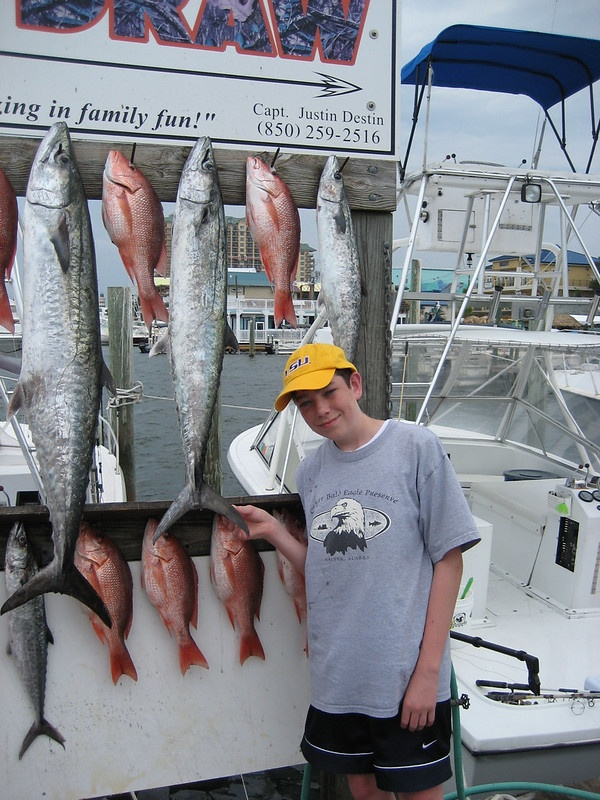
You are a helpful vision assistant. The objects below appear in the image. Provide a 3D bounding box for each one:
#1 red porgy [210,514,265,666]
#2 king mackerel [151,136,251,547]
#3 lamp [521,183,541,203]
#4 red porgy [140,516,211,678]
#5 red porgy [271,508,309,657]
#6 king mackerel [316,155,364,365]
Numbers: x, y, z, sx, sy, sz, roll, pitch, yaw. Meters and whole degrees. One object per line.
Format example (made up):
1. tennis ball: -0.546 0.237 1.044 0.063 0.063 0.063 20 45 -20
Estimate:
1. red porgy: -0.311 0.560 2.636 0.233 0.398 0.396 -4 14 -17
2. king mackerel: -0.295 -0.149 2.347 0.284 1.078 0.337 2 15 -14
3. lamp: 1.437 -1.294 5.289 0.138 0.129 0.072 -4 7 -12
4. red porgy: -0.380 0.577 2.632 0.216 0.524 0.121 -20 0 -13
5. red porgy: -0.019 0.555 2.624 0.104 0.329 0.118 -9 16 -34
6. king mackerel: 0.095 -0.429 2.545 0.156 0.571 0.151 -9 18 -25
